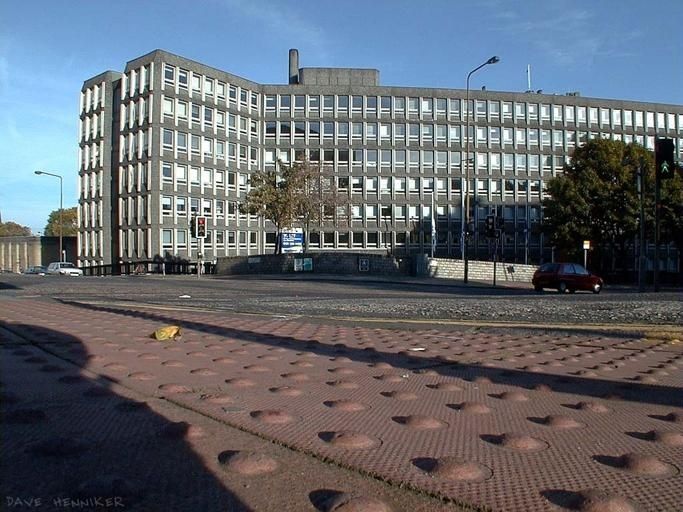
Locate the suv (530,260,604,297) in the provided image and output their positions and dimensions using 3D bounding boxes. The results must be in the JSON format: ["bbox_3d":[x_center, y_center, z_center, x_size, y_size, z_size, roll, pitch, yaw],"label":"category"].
[{"bbox_3d":[9.999,0.954,27.304,2.735,1.315,1.043,0,-1,14],"label":"suv"}]

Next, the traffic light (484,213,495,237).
[{"bbox_3d":[7.649,-1.515,31.484,0.467,1.059,0.579,0,-2,12],"label":"traffic light"}]

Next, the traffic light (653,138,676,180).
[{"bbox_3d":[9.059,-2.771,17.116,0.406,1.285,1.156,0,-1,10],"label":"traffic light"}]
